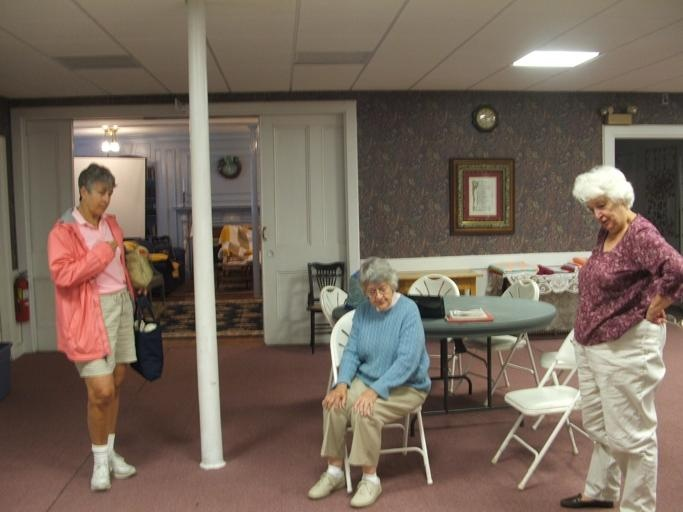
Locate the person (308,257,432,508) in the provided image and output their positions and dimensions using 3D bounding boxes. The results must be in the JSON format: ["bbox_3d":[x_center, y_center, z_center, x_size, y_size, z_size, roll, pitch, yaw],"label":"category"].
[{"bbox_3d":[0.169,0.824,3.945,0.594,1.597,0.839,9,14,43],"label":"person"}]

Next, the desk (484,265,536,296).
[{"bbox_3d":[1.979,0.283,7.013,0.354,0.245,0.363,-3,3,-32],"label":"desk"}]

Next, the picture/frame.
[{"bbox_3d":[1.704,-0.781,7.053,0.851,1.062,0.079,-1,2,-7],"label":"picture/frame"}]

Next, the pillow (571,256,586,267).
[{"bbox_3d":[1.976,0.045,4.733,0.120,0.068,0.171,1,0,-5],"label":"pillow"}]

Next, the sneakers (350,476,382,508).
[{"bbox_3d":[0.154,1.581,3.819,0.115,0.111,0.241,-4,-2,29],"label":"sneakers"}]

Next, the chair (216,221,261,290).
[{"bbox_3d":[-2.142,-0.017,11.255,0.733,1.099,1.369,-3,11,-12],"label":"chair"}]

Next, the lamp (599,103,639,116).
[{"bbox_3d":[3.541,-1.839,7.186,0.512,0.139,0.135,-4,11,-13],"label":"lamp"}]

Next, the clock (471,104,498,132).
[{"bbox_3d":[1.746,-1.707,6.979,0.250,0.279,0.027,-16,6,-13],"label":"clock"}]

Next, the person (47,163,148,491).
[{"bbox_3d":[-1.739,0.490,4.042,0.549,2.253,0.469,-9,13,-38],"label":"person"}]

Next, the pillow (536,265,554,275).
[{"bbox_3d":[2.481,0.180,6.793,0.290,0.126,0.108,-3,11,-26],"label":"pillow"}]

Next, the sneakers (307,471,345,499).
[{"bbox_3d":[-0.109,1.566,3.927,0.235,0.112,0.124,-4,3,-31],"label":"sneakers"}]

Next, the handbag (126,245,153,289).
[{"bbox_3d":[-1.548,0.090,4.291,0.183,0.327,0.120,-15,8,-41],"label":"handbag"}]
